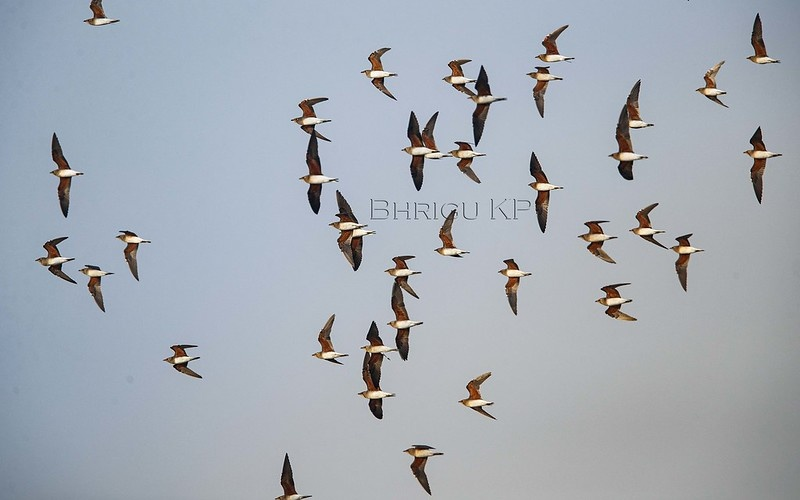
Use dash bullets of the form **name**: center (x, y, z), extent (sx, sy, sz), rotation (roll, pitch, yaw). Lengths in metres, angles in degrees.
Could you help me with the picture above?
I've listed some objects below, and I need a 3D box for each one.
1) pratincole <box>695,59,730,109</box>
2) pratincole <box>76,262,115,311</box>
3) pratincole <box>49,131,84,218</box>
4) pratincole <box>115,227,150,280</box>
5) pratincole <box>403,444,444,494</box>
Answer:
- **pratincole**: center (1.644, -0.860, 7.811), extent (0.163, 0.077, 0.332), rotation (-11, -27, 0)
- **pratincole**: center (-1.624, 0.194, 7.812), extent (0.173, 0.078, 0.223), rotation (12, -78, -8)
- **pratincole**: center (-1.766, -0.414, 7.831), extent (0.208, 0.046, 0.427), rotation (-5, -99, -35)
- **pratincole**: center (-1.435, 0.014, 7.817), extent (0.182, 0.078, 0.230), rotation (19, -79, -9)
- **pratincole**: center (0.101, 1.134, 7.723), extent (0.206, 0.093, 0.231), rotation (20, -79, -9)
